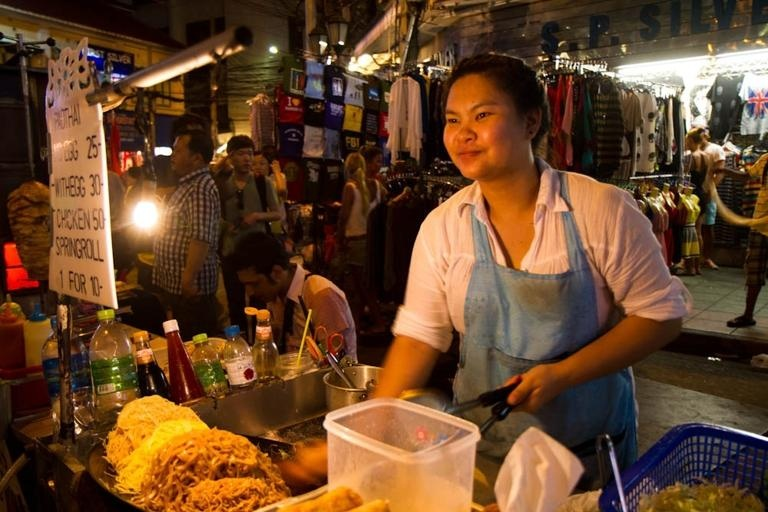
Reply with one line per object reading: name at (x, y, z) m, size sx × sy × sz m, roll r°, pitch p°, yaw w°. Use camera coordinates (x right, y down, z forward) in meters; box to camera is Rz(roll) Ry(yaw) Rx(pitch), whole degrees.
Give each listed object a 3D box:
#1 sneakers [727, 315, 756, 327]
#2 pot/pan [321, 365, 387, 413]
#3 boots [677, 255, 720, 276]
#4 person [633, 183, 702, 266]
sneakers at (4.467, 0.801, 6.963) m, size 0.381 × 0.150 × 0.154 m, roll 1°, pitch -1°, yaw 4°
pot/pan at (-0.154, 0.621, 2.655) m, size 0.249 × 0.179 × 0.225 m, roll 0°, pitch 6°, yaw 11°
boots at (5.570, 0.163, 9.854) m, size 0.574 × 0.226 × 0.176 m, roll -12°, pitch 28°, yaw -1°
person at (3.537, -0.473, 6.857) m, size 0.448 × 1.271 × 1.272 m, roll 2°, pitch 8°, yaw 43°
